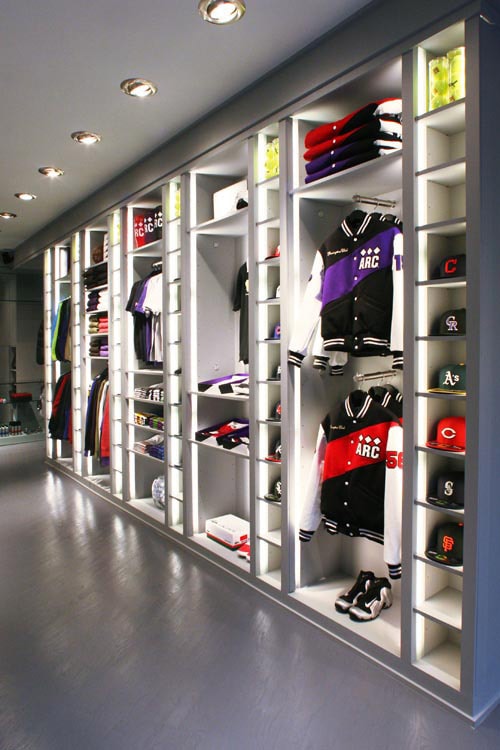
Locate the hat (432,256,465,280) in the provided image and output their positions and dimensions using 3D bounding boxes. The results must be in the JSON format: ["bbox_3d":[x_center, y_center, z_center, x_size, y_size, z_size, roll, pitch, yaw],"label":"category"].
[{"bbox_3d":[0.672,-0.356,1.878,0.083,0.085,0.174,0,3,21],"label":"hat"}]

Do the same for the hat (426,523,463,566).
[{"bbox_3d":[0.678,0.598,1.986,0.109,0.103,0.114,6,-6,-21],"label":"hat"}]

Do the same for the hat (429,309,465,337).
[{"bbox_3d":[0.696,-0.178,1.957,0.076,0.065,0.111,4,12,31],"label":"hat"}]

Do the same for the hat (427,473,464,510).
[{"bbox_3d":[0.680,0.404,1.956,0.120,0.070,0.092,1,-2,-44],"label":"hat"}]

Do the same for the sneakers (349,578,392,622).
[{"bbox_3d":[0.534,0.978,2.437,0.083,0.118,0.257,-10,-9,32],"label":"sneakers"}]

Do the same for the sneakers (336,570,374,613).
[{"bbox_3d":[0.447,0.962,2.536,0.084,0.184,0.252,-2,-1,38],"label":"sneakers"}]

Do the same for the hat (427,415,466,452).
[{"bbox_3d":[0.687,0.208,1.945,0.104,0.076,0.115,-2,-7,37],"label":"hat"}]
